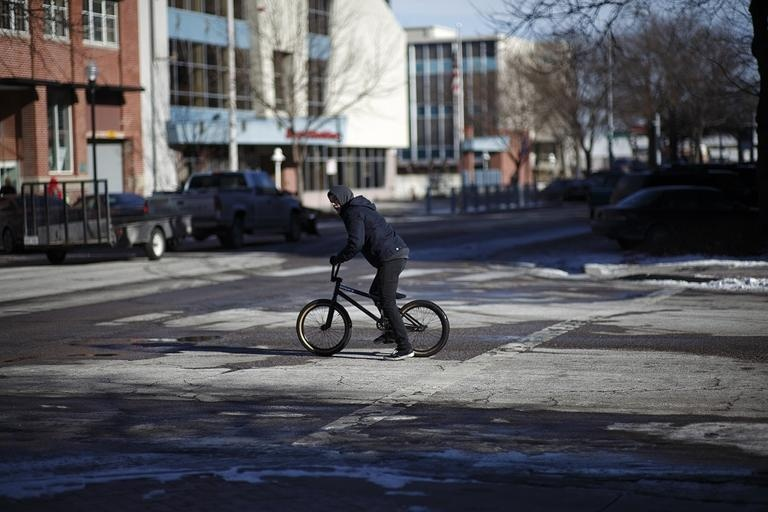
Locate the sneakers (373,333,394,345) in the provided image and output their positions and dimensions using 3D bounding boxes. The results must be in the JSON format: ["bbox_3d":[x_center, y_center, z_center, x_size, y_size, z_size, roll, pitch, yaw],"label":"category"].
[{"bbox_3d":[0.005,1.258,16.555,0.374,0.132,0.138,0,-3,-1],"label":"sneakers"}]

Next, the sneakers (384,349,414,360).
[{"bbox_3d":[0.213,1.491,16.465,0.477,0.171,0.165,-1,8,-1],"label":"sneakers"}]

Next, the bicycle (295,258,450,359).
[{"bbox_3d":[-0.170,0.819,16.665,2.428,1.371,1.108,-1,-1,17],"label":"bicycle"}]

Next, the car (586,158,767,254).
[{"bbox_3d":[8.161,-1.262,28.046,5.515,1.591,2.252,-3,11,-6],"label":"car"}]
